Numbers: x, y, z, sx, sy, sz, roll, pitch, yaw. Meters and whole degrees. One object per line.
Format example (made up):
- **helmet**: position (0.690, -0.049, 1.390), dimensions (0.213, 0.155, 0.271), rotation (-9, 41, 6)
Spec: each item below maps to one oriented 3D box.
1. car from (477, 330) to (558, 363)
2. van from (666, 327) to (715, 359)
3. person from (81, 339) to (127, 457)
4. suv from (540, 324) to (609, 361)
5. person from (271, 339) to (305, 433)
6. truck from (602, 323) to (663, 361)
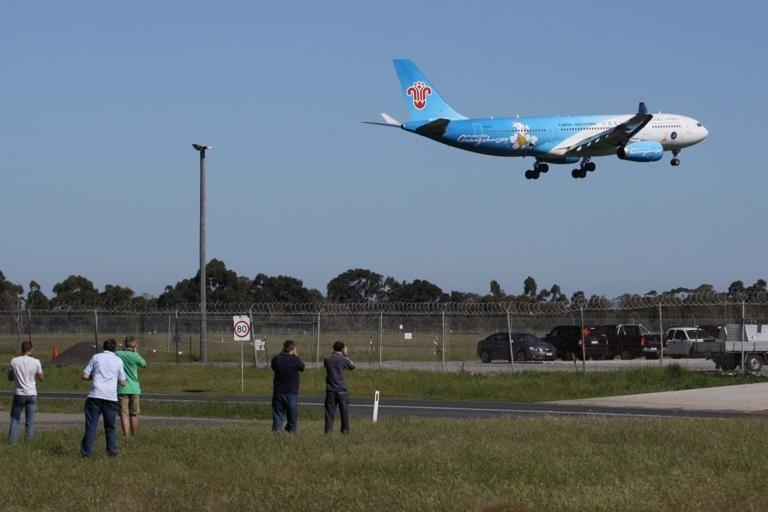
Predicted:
- **car**: position (5.759, 3.999, 51.771), dimensions (3.374, 1.335, 1.224), rotation (-4, -7, 36)
- **van**: position (13.819, 3.907, 53.128), dimensions (1.321, 1.195, 2.359), rotation (1, -5, -33)
- **person**: position (-7.056, 3.496, 29.308), dimensions (1.033, 2.889, 1.345), rotation (2, -6, -15)
- **suv**: position (8.900, 3.888, 53.366), dimensions (1.708, 1.383, 3.133), rotation (1, 3, -27)
- **person**: position (-2.566, 3.373, 30.624), dimensions (0.803, 2.316, 1.297), rotation (1, -6, -4)
- **truck**: position (11.132, 3.828, 52.692), dimensions (1.321, 1.003, 2.301), rotation (-1, 1, -12)
